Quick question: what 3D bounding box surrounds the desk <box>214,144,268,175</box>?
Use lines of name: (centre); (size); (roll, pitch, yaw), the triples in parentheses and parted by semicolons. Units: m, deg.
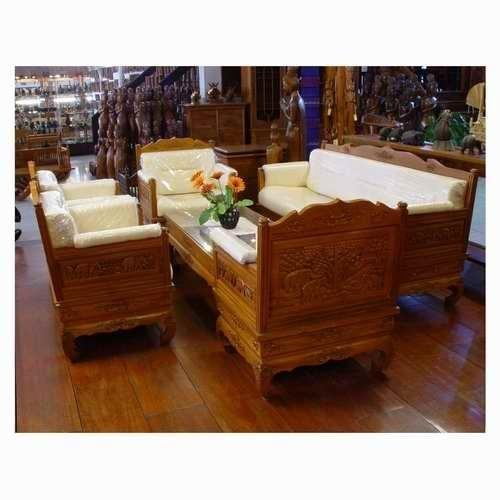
desk: (-0.180, -1.299, 5.504); (0.513, 0.396, 0.509); (-9, 25, -22)

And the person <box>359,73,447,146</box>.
person: (2.000, -1.805, 5.193); (0.359, 1.030, 1.216); (-9, 29, -14)

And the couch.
couch: (0.917, -0.423, 4.014); (0.872, 1.199, 2.285); (-7, 21, -22)

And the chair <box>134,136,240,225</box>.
chair: (-0.778, -0.686, 4.804); (1.001, 1.120, 0.873); (-11, 27, -28)

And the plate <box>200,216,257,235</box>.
plate: (-0.145, -0.192, 3.407); (0.246, 0.063, 0.273); (7, 16, 24)

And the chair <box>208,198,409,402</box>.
chair: (0.222, 0.087, 2.850); (0.861, 1.032, 1.564); (-6, 15, -17)

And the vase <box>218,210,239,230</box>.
vase: (-0.179, -0.253, 3.315); (0.158, 0.151, 0.151); (-1, 16, -12)
